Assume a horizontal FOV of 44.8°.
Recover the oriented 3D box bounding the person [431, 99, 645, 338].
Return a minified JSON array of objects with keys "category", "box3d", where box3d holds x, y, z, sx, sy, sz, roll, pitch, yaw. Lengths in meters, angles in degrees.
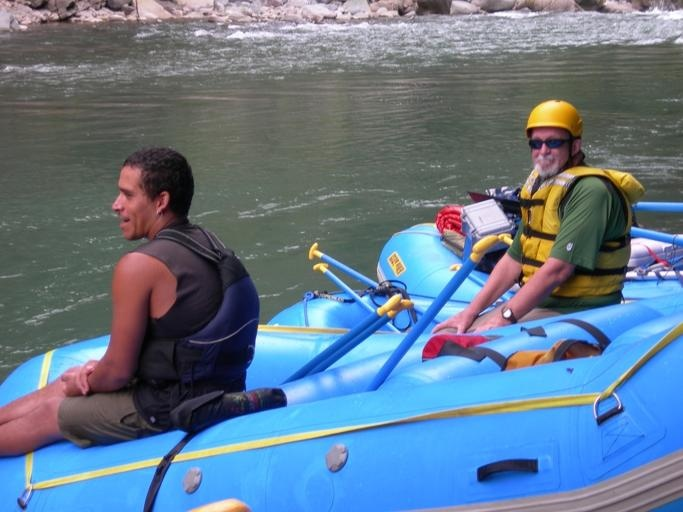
[{"category":"person","box3d":[1.296,-0.209,5.143,0.909,1.411,0.833,11,25,30]}]
